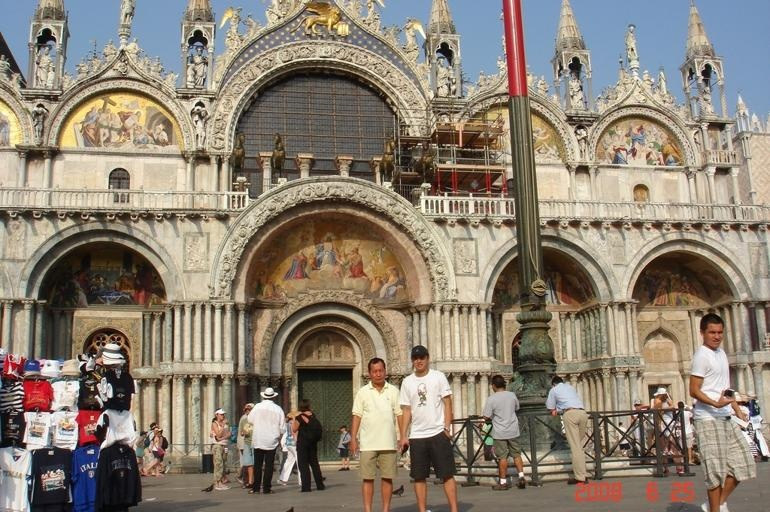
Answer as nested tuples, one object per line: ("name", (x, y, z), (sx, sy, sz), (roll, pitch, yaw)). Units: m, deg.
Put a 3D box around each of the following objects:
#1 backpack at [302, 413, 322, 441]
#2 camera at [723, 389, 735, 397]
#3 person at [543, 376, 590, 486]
("backpack", (-2.306, 5.351, 33.689), (0.673, 0.855, 0.311), (2, -16, -13))
("camera", (8.181, 3.309, 25.881), (0.204, 0.147, 0.199), (4, -11, -3))
("person", (5.346, 5.124, 31.507), (0.984, 2.916, 0.436), (-5, -16, 9))
